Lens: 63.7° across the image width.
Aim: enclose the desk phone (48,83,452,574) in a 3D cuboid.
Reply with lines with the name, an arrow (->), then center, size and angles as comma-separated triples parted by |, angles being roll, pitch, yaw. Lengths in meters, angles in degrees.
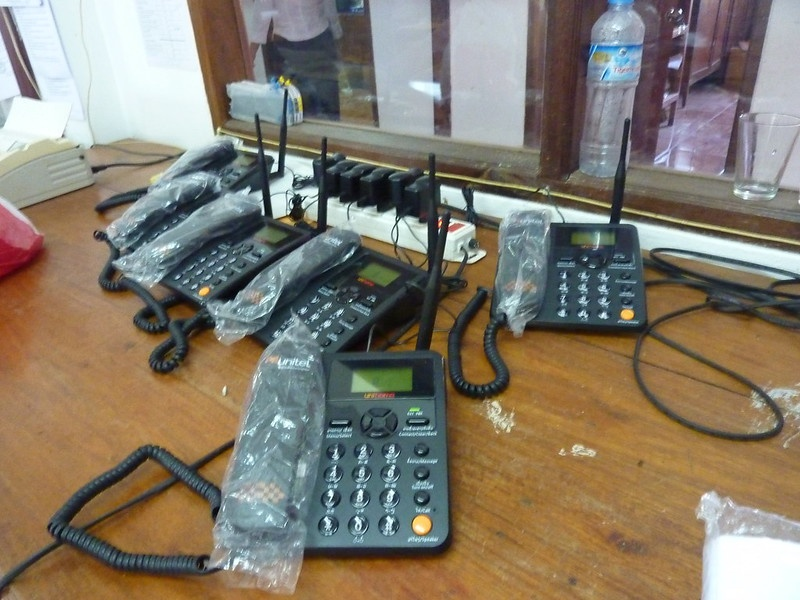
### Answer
desk phone -> -0.050, 0.011, 0.898 | 0.369, 0.203, 0.559 | 1, 43, 6
